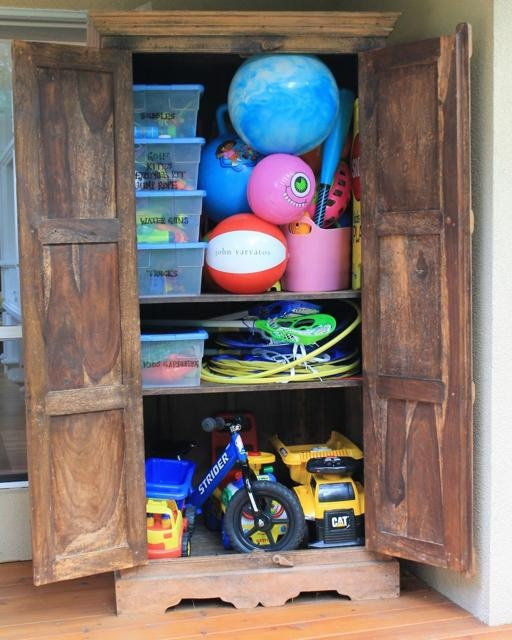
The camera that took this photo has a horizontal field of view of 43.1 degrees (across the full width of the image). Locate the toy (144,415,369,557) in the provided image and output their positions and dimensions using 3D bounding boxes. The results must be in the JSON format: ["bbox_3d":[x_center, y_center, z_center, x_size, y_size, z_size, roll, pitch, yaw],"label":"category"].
[{"bbox_3d":[0.033,0.688,2.576,0.616,0.328,0.612,-1,-4,-4],"label":"toy"}]

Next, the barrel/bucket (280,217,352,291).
[{"bbox_3d":[0.229,-0.244,2.416,0.289,0.274,0.223,-2,2,-20],"label":"barrel/bucket"}]
